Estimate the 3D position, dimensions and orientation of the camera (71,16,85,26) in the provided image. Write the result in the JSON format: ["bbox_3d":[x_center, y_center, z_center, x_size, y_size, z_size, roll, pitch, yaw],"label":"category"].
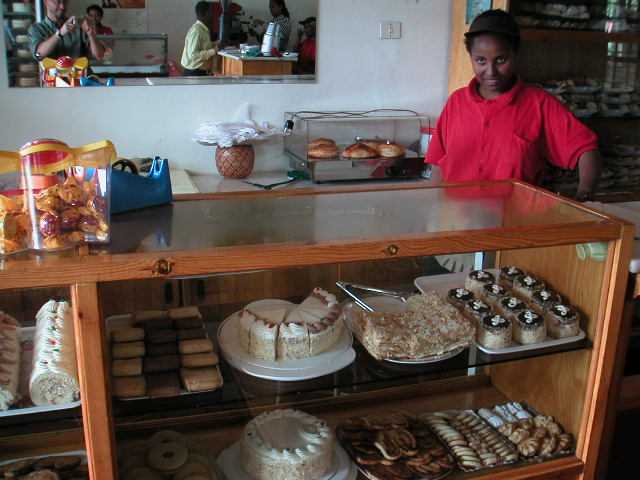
[{"bbox_3d":[-1.275,-1.147,2.819,0.047,0.030,0.045,-18,39,-35],"label":"camera"}]

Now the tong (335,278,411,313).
[{"bbox_3d":[0.146,0.147,1.488,0.154,0.024,0.096,22,28,18],"label":"tong"}]

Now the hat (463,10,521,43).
[{"bbox_3d":[0.728,-0.918,2.294,0.229,0.143,0.284,1,15,18],"label":"hat"}]

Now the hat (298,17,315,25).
[{"bbox_3d":[-0.084,-1.260,3.108,0.079,0.033,0.046,8,22,1],"label":"hat"}]

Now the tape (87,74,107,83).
[{"bbox_3d":[-1.207,-0.870,2.908,0.060,0.050,0.052,6,-2,-6],"label":"tape"}]

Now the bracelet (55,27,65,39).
[{"bbox_3d":[-1.360,-1.092,2.825,0.049,0.030,0.018,-11,-6,-5],"label":"bracelet"}]
